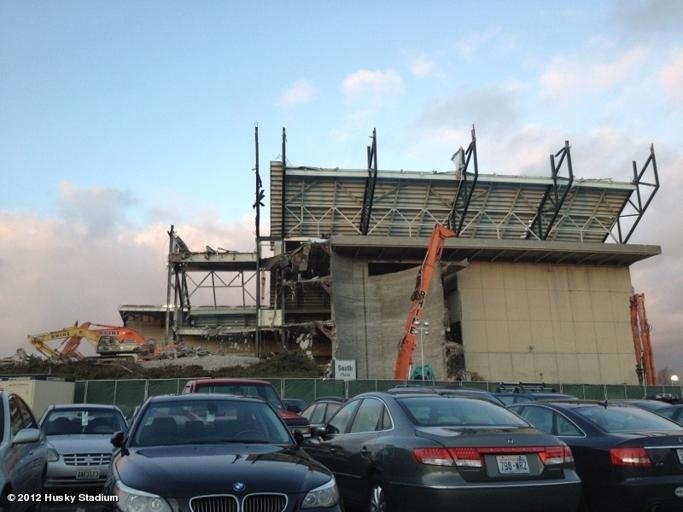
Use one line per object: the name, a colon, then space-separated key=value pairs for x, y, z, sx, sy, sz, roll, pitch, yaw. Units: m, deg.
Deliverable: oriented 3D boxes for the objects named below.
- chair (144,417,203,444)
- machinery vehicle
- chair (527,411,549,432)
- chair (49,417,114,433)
chair: x=-2.277 y=2.323 z=9.921 sx=0.836 sy=0.339 sz=0.435 roll=0 pitch=-10 yaw=-14
machinery vehicle: x=-19.217 y=6.671 z=58.507 sx=9.565 sy=3.130 sz=1.763 roll=-5 pitch=-10 yaw=12
chair: x=3.266 y=2.710 z=12.323 sx=0.202 sy=0.357 sz=0.785 roll=-1 pitch=-10 yaw=-8
chair: x=-5.258 y=3.431 z=15.049 sx=1.408 sy=0.326 sz=0.397 roll=1 pitch=-11 yaw=-21
